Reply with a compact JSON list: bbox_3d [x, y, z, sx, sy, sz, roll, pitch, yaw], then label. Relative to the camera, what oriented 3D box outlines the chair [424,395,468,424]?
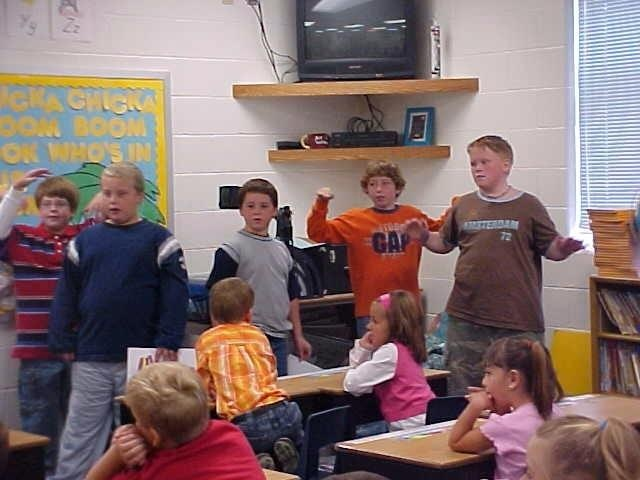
[{"bbox_3d":[0.534,0.709,2.416,0.188,0.115,0.126,1,2,-18],"label":"chair"}]

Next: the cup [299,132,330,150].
[{"bbox_3d":[-0.040,-0.800,4.612,0.203,0.130,0.129,-1,4,19],"label":"cup"}]

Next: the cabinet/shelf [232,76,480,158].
[{"bbox_3d":[0.284,-0.953,4.599,1.874,0.646,0.456,0,4,4],"label":"cabinet/shelf"}]
